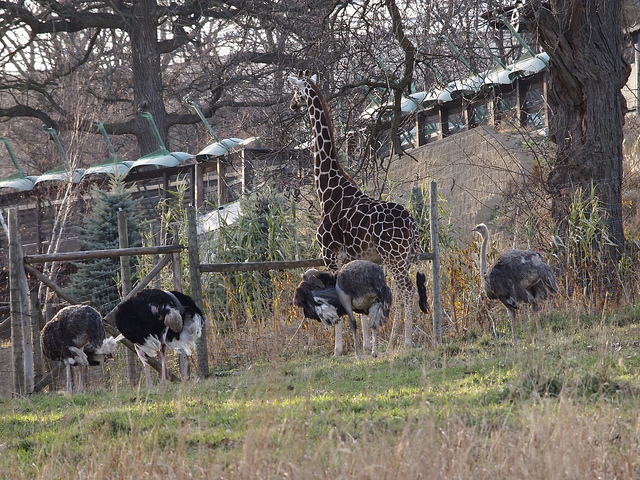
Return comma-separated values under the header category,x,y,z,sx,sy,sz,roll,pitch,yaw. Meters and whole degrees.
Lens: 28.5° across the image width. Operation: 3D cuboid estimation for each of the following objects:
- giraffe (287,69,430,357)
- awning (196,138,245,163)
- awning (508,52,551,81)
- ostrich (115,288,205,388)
category,x,y,z,sx,sy,sz,roll,pitch,yaw
giraffe,0.689,-0.508,23.363,2.735,5.081,1.072,2,4,21
awning,-2.764,-2.473,33.344,1.120,0.680,2.062,-7,-3,-6
awning,5.259,-4.459,31.905,0.882,0.528,1.333,-7,-3,2
ostrich,-2.799,1.451,21.883,1.469,0.918,0.540,-6,-3,-11
